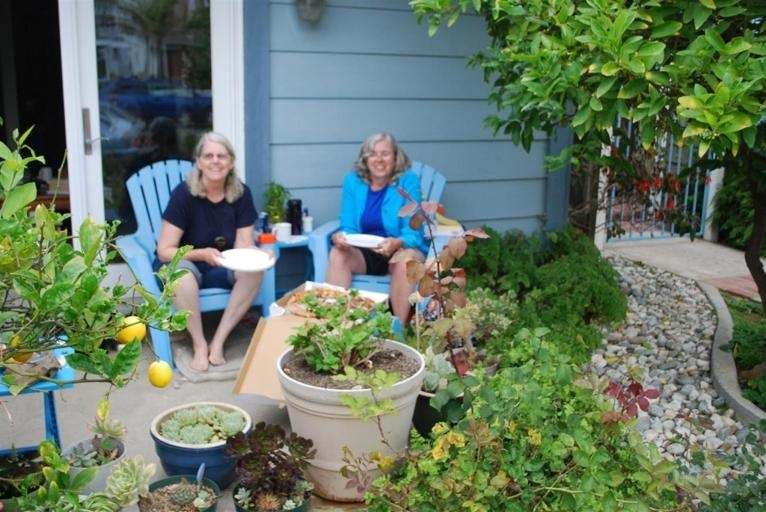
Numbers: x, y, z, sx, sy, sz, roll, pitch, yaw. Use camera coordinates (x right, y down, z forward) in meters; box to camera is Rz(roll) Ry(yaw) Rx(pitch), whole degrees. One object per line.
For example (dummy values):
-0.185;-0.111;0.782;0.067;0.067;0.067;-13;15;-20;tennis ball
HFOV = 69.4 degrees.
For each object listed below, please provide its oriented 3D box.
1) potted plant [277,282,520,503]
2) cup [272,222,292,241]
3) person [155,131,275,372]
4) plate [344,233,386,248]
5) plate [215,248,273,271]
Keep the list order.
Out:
-0.123;0.681;2.646;0.730;0.630;0.812;7;24;-2;potted plant
-0.753;-0.186;4.226;0.096;0.110;0.152;17;25;40;cup
-1.146;-0.047;3.719;0.696;1.507;0.580;-3;16;-23;person
-0.132;-0.093;3.834;0.274;0.071;0.201;0;14;-13;plate
-0.886;0.045;3.591;0.331;0.123;0.356;2;14;-7;plate
